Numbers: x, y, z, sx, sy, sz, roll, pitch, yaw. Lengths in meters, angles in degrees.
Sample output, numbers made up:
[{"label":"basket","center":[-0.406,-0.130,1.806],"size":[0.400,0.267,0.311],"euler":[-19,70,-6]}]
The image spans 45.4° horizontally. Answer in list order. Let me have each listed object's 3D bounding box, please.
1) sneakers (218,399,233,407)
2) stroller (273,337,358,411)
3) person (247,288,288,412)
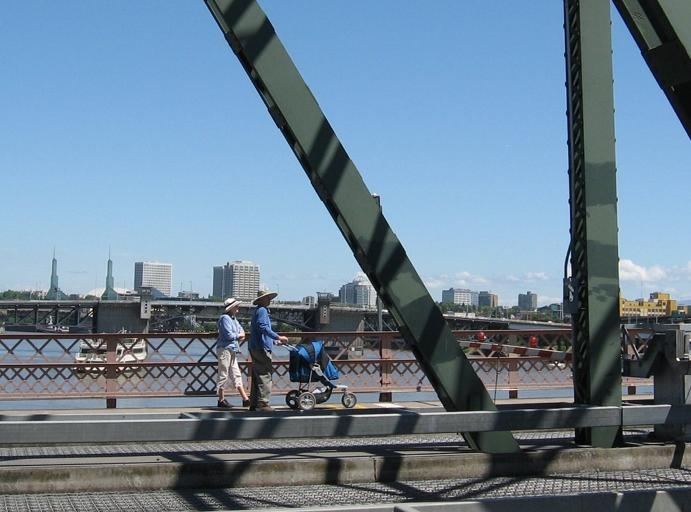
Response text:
[{"label":"sneakers","center":[-1.955,2.398,13.419],"size":[0.282,0.125,0.100],"euler":[0,3,8]},{"label":"stroller","center":[-0.483,1.894,13.371],"size":[1.234,1.129,0.784],"euler":[-1,1,-13]},{"label":"person","center":[-1.239,1.490,12.876],"size":[0.544,1.829,1.159],"euler":[0,-4,-5]}]
